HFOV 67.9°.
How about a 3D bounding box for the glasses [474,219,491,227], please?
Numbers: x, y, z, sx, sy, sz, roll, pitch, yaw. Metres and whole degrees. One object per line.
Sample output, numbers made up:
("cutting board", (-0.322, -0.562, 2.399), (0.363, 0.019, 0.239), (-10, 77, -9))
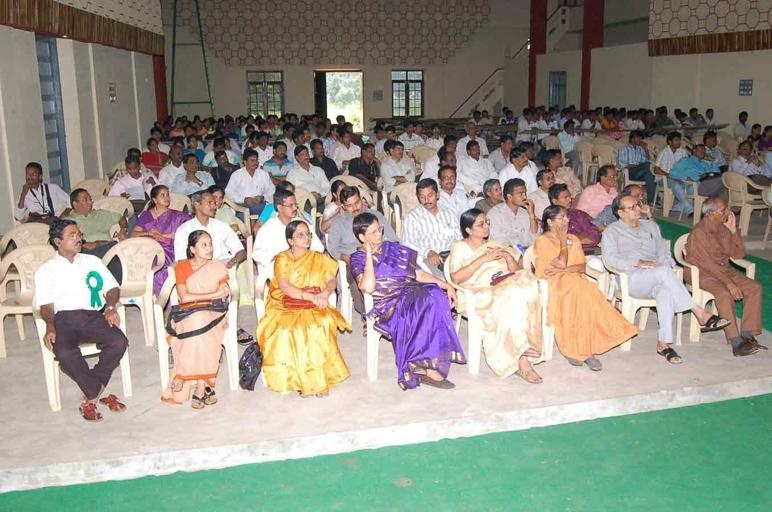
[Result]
("glasses", (0.915, -0.292, 5.405), (0.141, 0.043, 0.139), (3, 10, 31))

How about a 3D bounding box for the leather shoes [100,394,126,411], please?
("leather shoes", (-2.286, 1.208, 4.806), (0.222, 0.090, 0.105), (12, 23, 33))

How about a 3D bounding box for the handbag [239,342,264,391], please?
("handbag", (-1.189, 0.960, 5.014), (0.228, 0.384, 0.112), (-4, -4, 30))

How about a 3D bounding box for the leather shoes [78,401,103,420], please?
("leather shoes", (-2.401, 1.258, 4.657), (0.109, 0.097, 0.200), (-2, 7, -44))

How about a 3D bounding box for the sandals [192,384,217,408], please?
("sandals", (-1.532, 1.183, 4.824), (0.132, 0.071, 0.251), (-3, 21, -16))

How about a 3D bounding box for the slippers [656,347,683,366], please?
("slippers", (2.700, 0.929, 5.403), (0.154, 0.094, 0.212), (-1, 12, -1))

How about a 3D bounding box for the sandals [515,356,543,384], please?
("sandals", (1.302, 1.008, 5.141), (0.223, 0.210, 0.186), (0, 12, 7))
